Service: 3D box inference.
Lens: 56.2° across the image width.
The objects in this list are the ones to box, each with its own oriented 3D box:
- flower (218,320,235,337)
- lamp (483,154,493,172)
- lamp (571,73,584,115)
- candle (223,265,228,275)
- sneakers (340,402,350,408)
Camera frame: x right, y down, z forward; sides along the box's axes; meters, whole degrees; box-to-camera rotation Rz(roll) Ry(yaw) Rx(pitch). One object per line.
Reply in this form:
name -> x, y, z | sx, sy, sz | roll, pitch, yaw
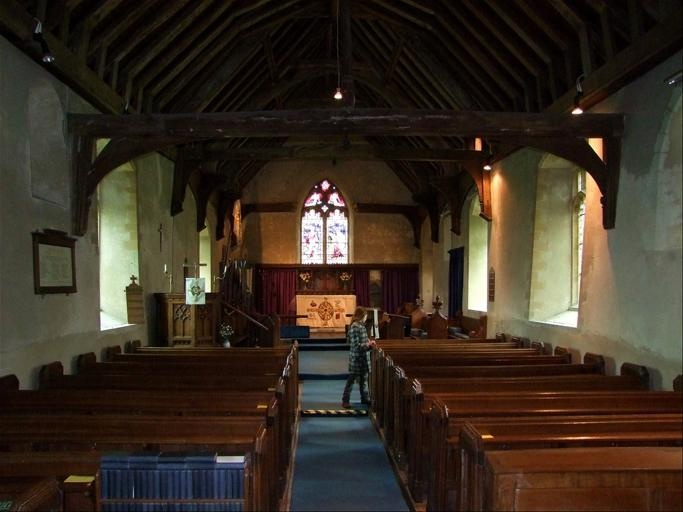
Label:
flower -> -1.921, 1.225, 10.719 | 0.195, 0.249, 0.203 | -4, -3, 33
lamp -> 2.594, -1.661, 11.331 | 0.154, 0.345, 0.394 | -6, 4, 11
lamp -> 2.955, -1.990, 7.949 | 0.177, 0.535, 0.727 | -5, 5, 22
candle -> -2.252, 0.274, 12.412 | 0.042, 0.142, 0.148 | 19, -15, -6
sneakers -> 0.064, 2.159, 9.260 | 0.140, 0.070, 0.051 | -9, -9, 40
